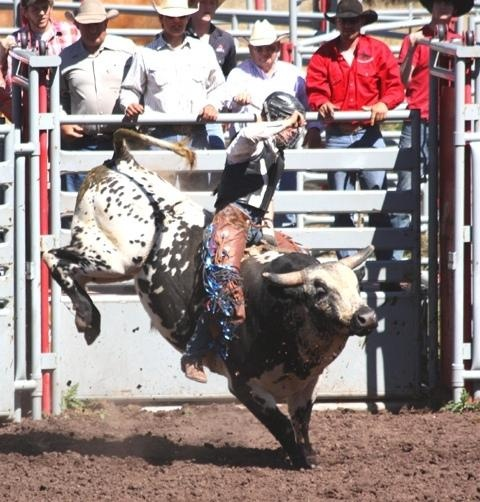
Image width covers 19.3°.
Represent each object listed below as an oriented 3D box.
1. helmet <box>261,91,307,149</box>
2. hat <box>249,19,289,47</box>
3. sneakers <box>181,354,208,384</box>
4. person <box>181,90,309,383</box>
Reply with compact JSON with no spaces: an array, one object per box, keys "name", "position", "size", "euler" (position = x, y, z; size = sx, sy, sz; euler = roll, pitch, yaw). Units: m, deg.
[{"name":"helmet","position":[0.304,-0.913,9.928],"size":[0.333,0.390,0.278],"euler":[16,6,3]},{"name":"hat","position":[0.187,-1.834,12.145],"size":[0.251,0.144,0.322],"euler":[-12,4,4]},{"name":"sneakers","position":[-0.348,0.821,9.884],"size":[0.095,0.140,0.296],"euler":[9,1,-24]},{"name":"person","position":[0.020,-0.090,9.825],"size":[0.556,1.929,0.918],"euler":[9,16,44]}]
